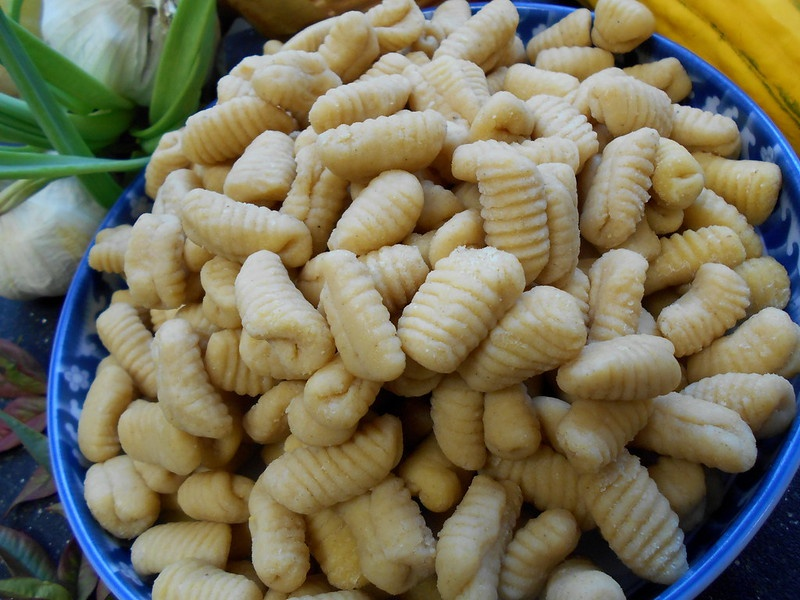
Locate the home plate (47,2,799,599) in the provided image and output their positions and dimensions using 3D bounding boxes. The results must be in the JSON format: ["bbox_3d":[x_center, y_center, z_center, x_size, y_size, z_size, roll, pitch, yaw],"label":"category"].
[{"bbox_3d":[-0.024,0.071,1.244,0.692,0.183,0.852,-5,64,8],"label":"home plate"}]
